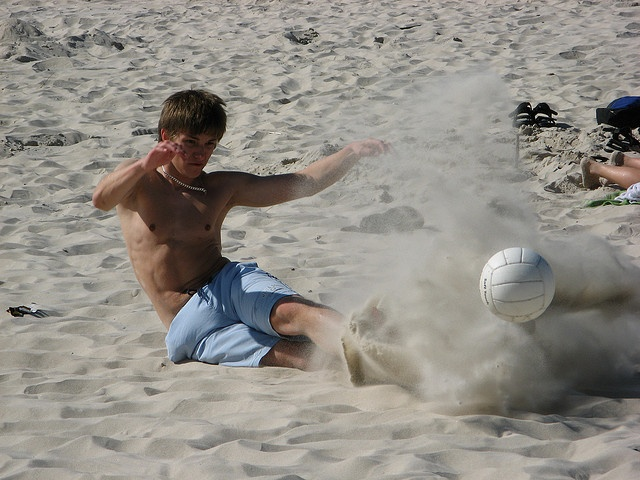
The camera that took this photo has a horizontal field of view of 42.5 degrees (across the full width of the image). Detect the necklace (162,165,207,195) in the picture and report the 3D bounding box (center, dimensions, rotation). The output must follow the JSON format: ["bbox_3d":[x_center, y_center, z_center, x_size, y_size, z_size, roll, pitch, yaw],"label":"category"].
[{"bbox_3d":[-0.987,-0.432,5.989,0.303,0.198,0.014,23,56,-9],"label":"necklace"}]

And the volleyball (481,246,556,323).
[{"bbox_3d":[1.313,0.297,5.459,0.476,0.413,0.365,9,40,7],"label":"volleyball"}]

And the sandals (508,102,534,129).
[{"bbox_3d":[2.450,-1.511,9.987,0.246,0.265,0.286,11,39,8],"label":"sandals"}]
